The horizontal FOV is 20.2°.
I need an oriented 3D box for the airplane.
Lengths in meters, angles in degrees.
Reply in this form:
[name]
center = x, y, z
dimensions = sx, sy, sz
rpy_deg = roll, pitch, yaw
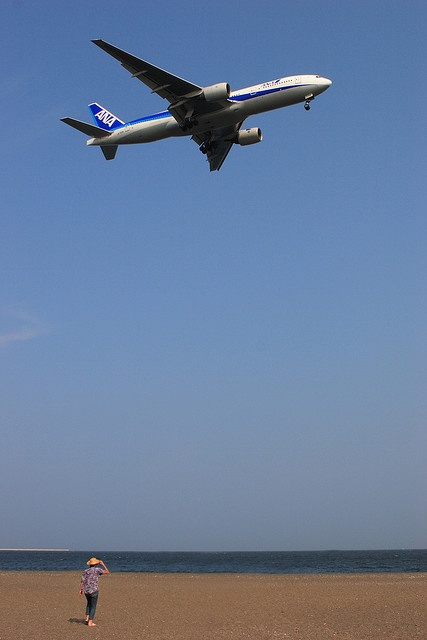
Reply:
[airplane]
center = -1.567, -9.189, 62.574
dimensions = 10.392, 5.346, 12.847
rpy_deg = 6, -17, -15

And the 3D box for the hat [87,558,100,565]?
[hat]
center = -4.859, 9.839, 48.475
dimensions = 0.413, 0.351, 0.980
rpy_deg = 0, -17, 3
